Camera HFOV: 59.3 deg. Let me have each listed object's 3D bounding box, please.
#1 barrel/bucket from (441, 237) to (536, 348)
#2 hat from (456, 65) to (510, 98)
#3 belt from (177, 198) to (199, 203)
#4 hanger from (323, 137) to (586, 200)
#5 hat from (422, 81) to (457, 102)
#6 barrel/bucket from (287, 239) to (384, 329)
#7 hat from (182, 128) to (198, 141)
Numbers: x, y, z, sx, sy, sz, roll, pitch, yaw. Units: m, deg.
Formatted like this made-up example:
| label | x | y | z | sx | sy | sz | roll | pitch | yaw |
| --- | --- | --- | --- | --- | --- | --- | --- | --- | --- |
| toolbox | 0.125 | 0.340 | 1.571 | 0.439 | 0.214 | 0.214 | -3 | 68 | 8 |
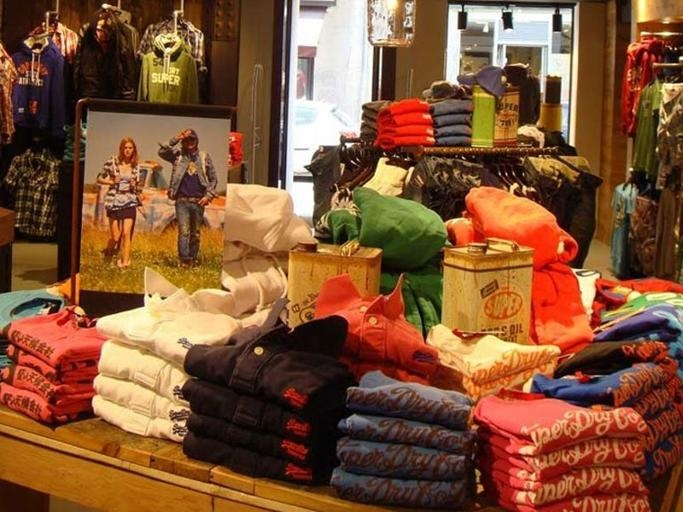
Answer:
| label | x | y | z | sx | sy | sz | roll | pitch | yaw |
| --- | --- | --- | --- | --- | --- | --- | --- | --- | --- |
| barrel/bucket | 0.561 | 0.153 | 2.285 | 0.281 | 0.468 | 0.298 | -4 | 17 | 1 |
| hat | 0.853 | -1.044 | 3.525 | 0.295 | 0.156 | 0.202 | 30 | 28 | 28 |
| belt | -0.614 | -0.223 | 2.411 | 0.085 | 0.020 | 0.010 | 1 | 6 | -2 |
| hanger | 0.587 | -0.569 | 3.789 | 1.792 | 0.386 | 0.984 | 5 | 8 | 25 |
| hat | 0.620 | -1.028 | 3.687 | 0.149 | 0.064 | 0.201 | 9 | -15 | -13 |
| barrel/bucket | -0.008 | 0.108 | 2.246 | 0.369 | 0.295 | 0.262 | -4 | 8 | -36 |
| hat | -0.611 | -0.487 | 2.423 | 0.049 | 0.041 | 0.085 | 7 | -4 | 2 |
